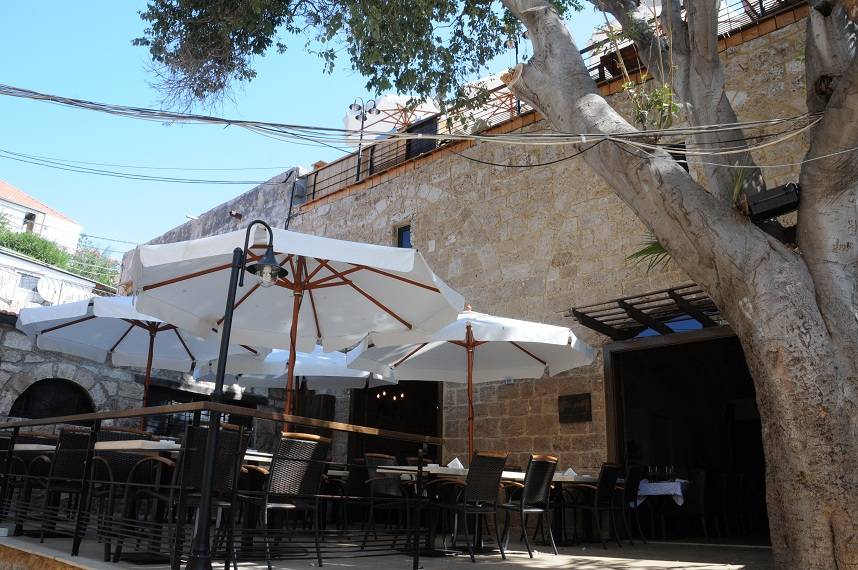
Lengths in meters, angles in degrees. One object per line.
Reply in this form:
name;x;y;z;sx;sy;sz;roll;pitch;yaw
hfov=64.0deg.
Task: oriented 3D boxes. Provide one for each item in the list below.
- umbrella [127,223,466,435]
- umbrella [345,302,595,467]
umbrella;-1.587;0.077;8.274;2.822;1.803;2.945;-12;-31;26
umbrella;0.649;0.982;9.735;2.647;1.754;2.519;5;-25;-15
